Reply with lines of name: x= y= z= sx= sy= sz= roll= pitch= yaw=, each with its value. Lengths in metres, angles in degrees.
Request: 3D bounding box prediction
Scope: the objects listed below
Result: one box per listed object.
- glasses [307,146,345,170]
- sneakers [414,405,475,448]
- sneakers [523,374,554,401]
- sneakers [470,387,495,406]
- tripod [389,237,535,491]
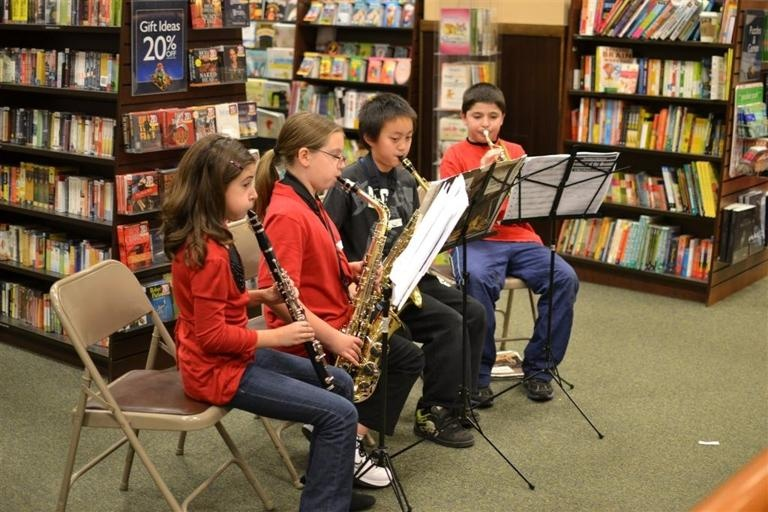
glasses: x=-0.243 y=-0.444 z=2.776 sx=0.099 sy=0.028 sz=0.098 roll=23 pitch=6 yaw=21
sneakers: x=0.321 y=0.891 z=3.336 sx=0.344 sy=0.206 sz=0.151 roll=3 pitch=6 yaw=35
sneakers: x=0.926 y=0.794 z=3.780 sx=0.122 sy=0.100 sz=0.241 roll=0 pitch=0 yaw=-14
sneakers: x=0.578 y=0.830 z=3.662 sx=0.082 sy=0.089 sz=0.200 roll=1 pitch=-9 yaw=-11
tripod: x=0.413 y=0.491 z=2.858 sx=0.821 sy=1.043 sz=0.781 roll=8 pitch=-24 yaw=-13
